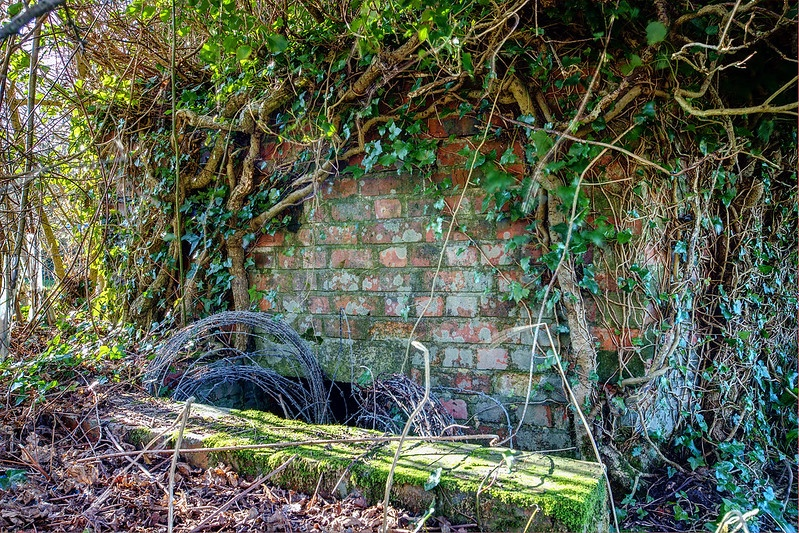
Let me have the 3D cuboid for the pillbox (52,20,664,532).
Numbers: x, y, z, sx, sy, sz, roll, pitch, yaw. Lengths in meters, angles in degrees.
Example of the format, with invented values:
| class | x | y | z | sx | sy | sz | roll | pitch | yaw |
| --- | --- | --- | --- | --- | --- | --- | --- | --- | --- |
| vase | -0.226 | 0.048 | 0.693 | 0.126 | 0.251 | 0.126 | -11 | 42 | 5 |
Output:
| class | x | y | z | sx | sy | sz | roll | pitch | yaw |
| --- | --- | --- | --- | --- | --- | --- | --- | --- | --- |
| pillbox | -0.310 | -0.133 | 5.751 | 4.106 | 4.371 | 2.314 | 0 | 1 | 33 |
